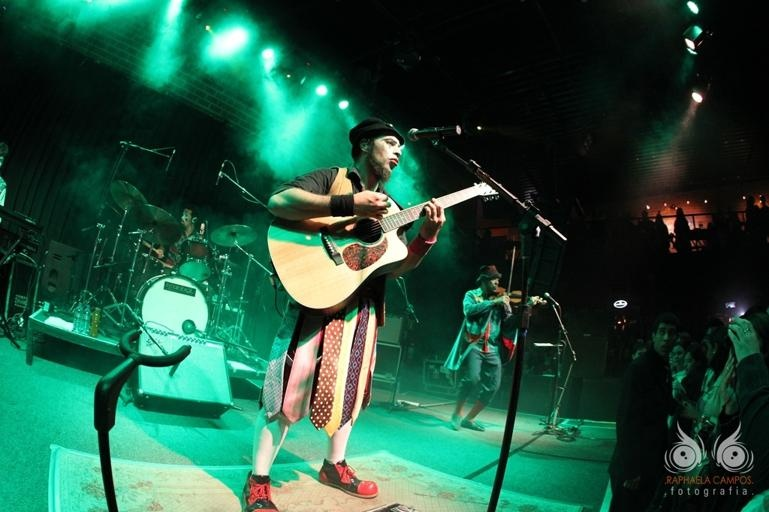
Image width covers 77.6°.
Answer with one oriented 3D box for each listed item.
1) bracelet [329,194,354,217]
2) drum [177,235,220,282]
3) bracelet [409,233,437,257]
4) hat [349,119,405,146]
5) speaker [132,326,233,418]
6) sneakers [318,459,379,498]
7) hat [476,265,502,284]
[{"bbox_3d":[-0.392,-0.463,4.432,0.196,0.250,0.210,3,0,-6],"label":"bracelet"},{"bbox_3d":[-3.330,0.071,8.546,0.553,0.504,0.534,24,-50,-23],"label":"drum"},{"bbox_3d":[0.364,-0.114,4.806,0.199,0.223,0.225,35,5,-9],"label":"bracelet"},{"bbox_3d":[-0.106,-1.253,4.815,0.399,0.151,0.305,-6,3,-14],"label":"hat"},{"bbox_3d":[-2.404,1.417,5.662,1.310,1.187,0.467,17,-52,-32],"label":"speaker"},{"bbox_3d":[-0.366,2.206,4.849,0.625,0.264,0.262,12,-10,10],"label":"sneakers"},{"bbox_3d":[1.768,0.294,8.253,0.373,0.205,0.313,-20,-21,39],"label":"hat"}]
